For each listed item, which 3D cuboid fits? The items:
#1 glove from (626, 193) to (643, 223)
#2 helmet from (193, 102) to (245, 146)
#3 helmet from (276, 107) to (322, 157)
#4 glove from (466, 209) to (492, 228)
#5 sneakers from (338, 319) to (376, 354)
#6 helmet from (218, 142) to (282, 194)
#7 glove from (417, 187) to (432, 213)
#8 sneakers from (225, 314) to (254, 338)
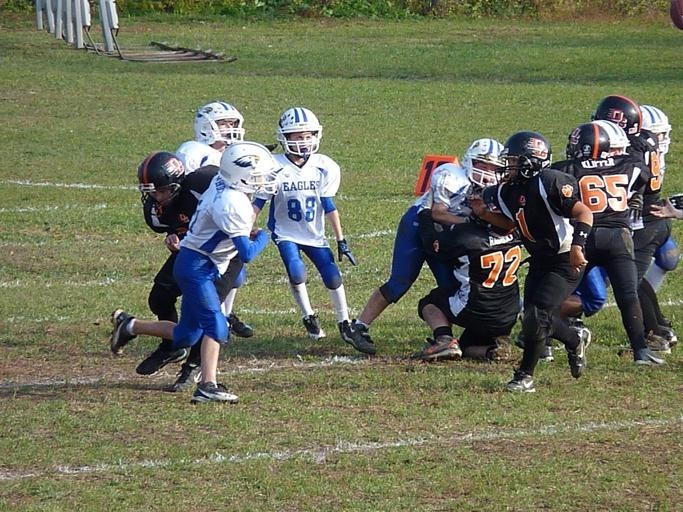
[{"bbox_3d":[3.120,-0.521,12.009,0.242,0.271,0.114,-2,6,-11],"label":"glove"},{"bbox_3d":[-1.308,-1.473,12.531,0.636,0.388,0.463,4,10,19],"label":"helmet"},{"bbox_3d":[-0.471,-1.401,12.663,0.527,0.437,0.601,-4,13,-15],"label":"helmet"},{"bbox_3d":[1.429,-0.398,11.560,0.254,0.243,0.331,2,12,1],"label":"glove"},{"bbox_3d":[0.154,0.852,12.106,0.574,0.242,0.192,33,59,24],"label":"sneakers"},{"bbox_3d":[-0.941,-0.914,11.189,0.676,0.420,0.478,14,18,-9],"label":"helmet"},{"bbox_3d":[0.868,-0.614,11.932,0.129,0.234,0.315,0,12,-5],"label":"glove"},{"bbox_3d":[-1.063,0.784,12.539,0.438,0.167,0.156,21,34,22],"label":"sneakers"}]
